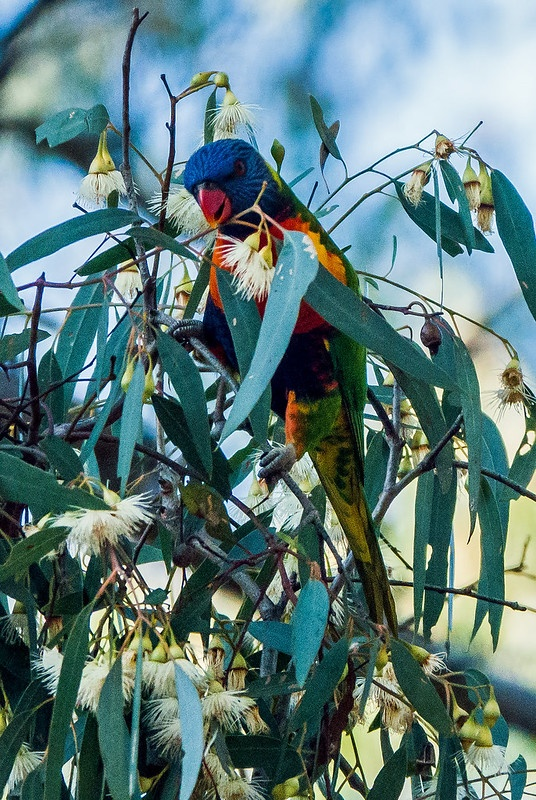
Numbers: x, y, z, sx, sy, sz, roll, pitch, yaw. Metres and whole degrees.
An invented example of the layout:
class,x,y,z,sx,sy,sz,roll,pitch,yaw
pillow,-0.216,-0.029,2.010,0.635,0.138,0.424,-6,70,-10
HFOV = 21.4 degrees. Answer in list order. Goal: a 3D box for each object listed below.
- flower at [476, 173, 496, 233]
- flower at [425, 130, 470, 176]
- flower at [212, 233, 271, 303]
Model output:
class,x,y,z,sx,sy,sz,roll,pitch,yaw
flower,0.265,-0.254,1.746,0.018,0.109,0.022,-1,-4,6
flower,0.221,-0.304,1.748,0.036,0.051,0.050,11,-55,-14
flower,-0.020,-0.135,1.354,0.057,0.039,0.080,-9,-53,-33
